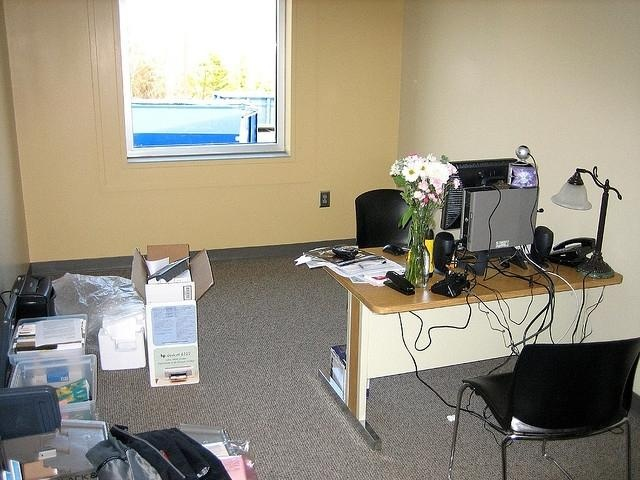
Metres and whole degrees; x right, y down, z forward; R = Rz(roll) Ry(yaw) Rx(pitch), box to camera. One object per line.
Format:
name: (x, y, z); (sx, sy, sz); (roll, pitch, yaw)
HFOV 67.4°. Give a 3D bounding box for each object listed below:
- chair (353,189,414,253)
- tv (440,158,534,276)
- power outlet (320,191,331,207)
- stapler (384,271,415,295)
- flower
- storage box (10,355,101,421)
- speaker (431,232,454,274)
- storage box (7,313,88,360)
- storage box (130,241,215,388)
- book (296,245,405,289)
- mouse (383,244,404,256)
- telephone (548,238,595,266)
chair: (0.482, -0.205, 4.132); (0.444, 0.636, 0.469); (-4, 17, -12)
tv: (1.023, -0.139, 2.931); (0.523, 0.698, 0.454); (-4, 21, -10)
power outlet: (0.049, -0.473, 5.501); (0.163, 0.244, 0.031); (-2, 22, -14)
stapler: (0.444, 0.248, 2.745); (0.068, 0.104, 0.259); (-3, 14, -19)
flower: (0.574, -0.110, 2.745); (0.352, 0.733, 0.230); (2, 16, 8)
storage box: (-1.522, 0.812, 2.801); (0.335, 0.204, 0.459); (-2, 30, -27)
speaker: (0.734, 0.083, 2.884); (0.129, 0.214, 0.145); (-8, 32, -12)
storage box: (-1.675, 0.599, 2.982); (0.272, 0.080, 0.289); (-2, 18, -14)
storage box: (-1.048, 0.509, 3.435); (0.501, 0.880, 0.604); (-7, 17, -23)
book: (0.237, 0.168, 2.969); (0.323, 0.094, 0.381); (-4, 15, -23)
mouse: (0.518, 0.066, 3.246); (0.066, 0.036, 0.108); (15, 17, 43)
telephone: (1.616, 0.100, 3.081); (0.207, 0.113, 0.253); (-13, 5, 18)
